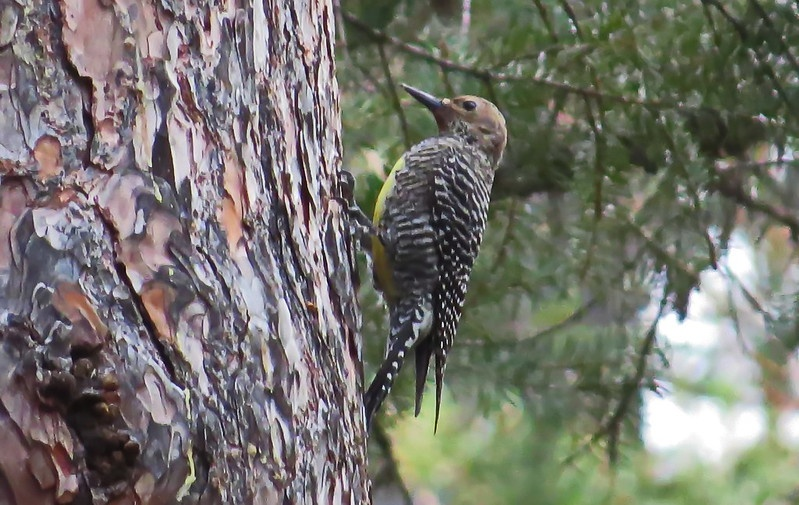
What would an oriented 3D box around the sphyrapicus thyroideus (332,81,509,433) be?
[{"bbox_3d":[0.154,0.018,6.631,0.660,1.560,0.586,18,-21,-19],"label":"sphyrapicus thyroideus"}]
